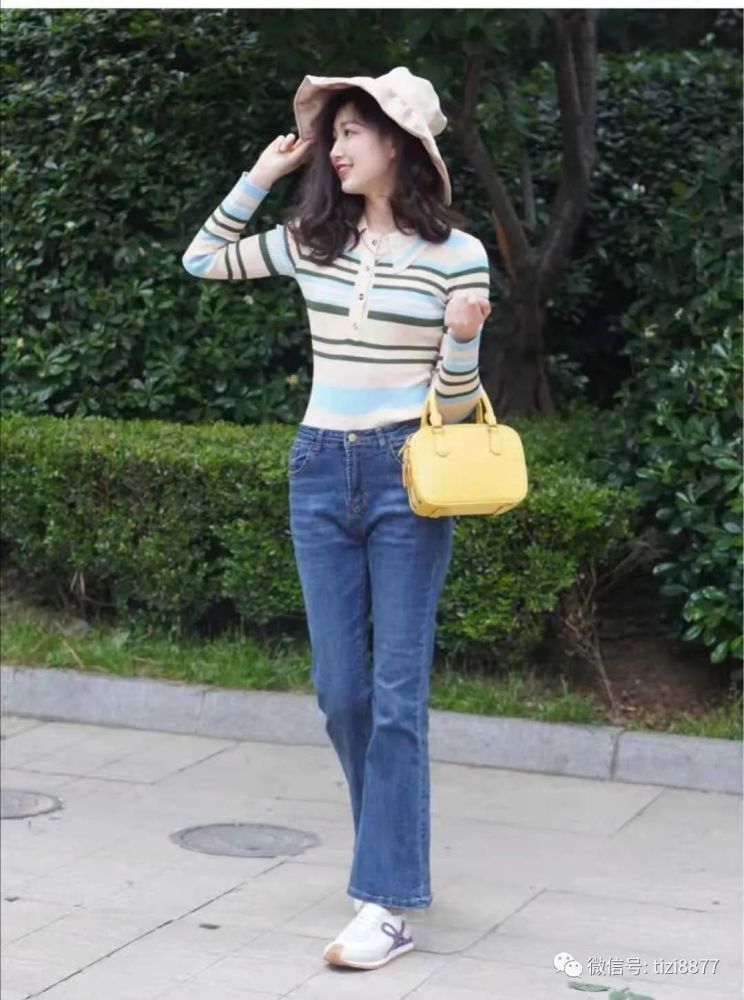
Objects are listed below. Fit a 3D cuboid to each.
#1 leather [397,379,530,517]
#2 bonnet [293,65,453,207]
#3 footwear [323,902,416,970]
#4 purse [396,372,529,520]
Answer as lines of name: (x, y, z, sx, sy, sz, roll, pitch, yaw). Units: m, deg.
leather: (0.213, -0.105, 3.149, 0.284, 0.322, 0.271, -2, 8, -10)
bonnet: (0.020, -0.985, 3.293, 0.439, 0.191, 0.337, 27, -17, 15)
footwear: (-0.003, 1.087, 3.274, 0.115, 0.091, 0.224, -1, -1, 35)
purse: (0.210, -0.160, 3.153, 0.291, 0.355, 0.140, -3, -8, -15)
